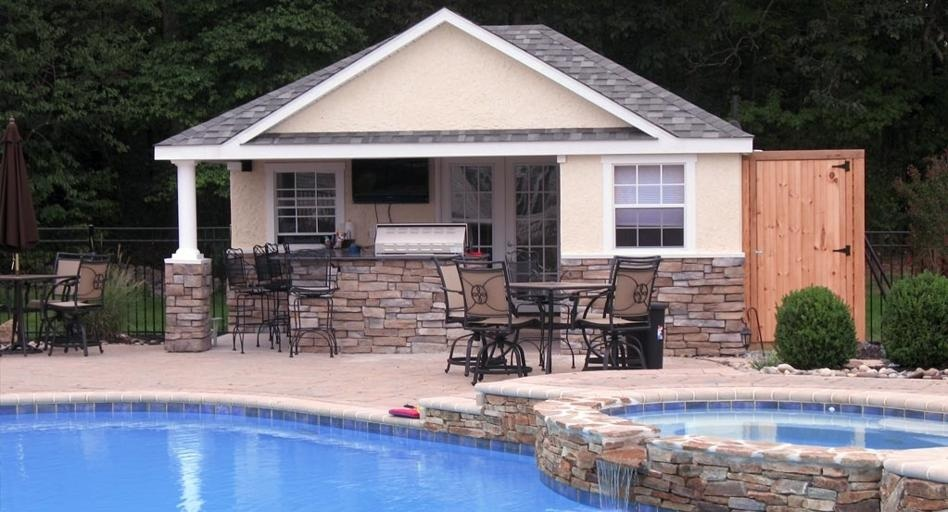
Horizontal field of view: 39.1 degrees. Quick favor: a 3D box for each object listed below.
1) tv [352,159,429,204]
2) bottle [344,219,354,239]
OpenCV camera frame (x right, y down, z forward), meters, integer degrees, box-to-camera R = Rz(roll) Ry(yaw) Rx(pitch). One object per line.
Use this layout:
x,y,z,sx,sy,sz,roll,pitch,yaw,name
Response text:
-2.437,-2.247,38.351,2.470,1.467,0.283,0,2,17,tv
-3.605,-0.789,38.519,0.295,0.569,0.196,0,-2,-6,bottle
